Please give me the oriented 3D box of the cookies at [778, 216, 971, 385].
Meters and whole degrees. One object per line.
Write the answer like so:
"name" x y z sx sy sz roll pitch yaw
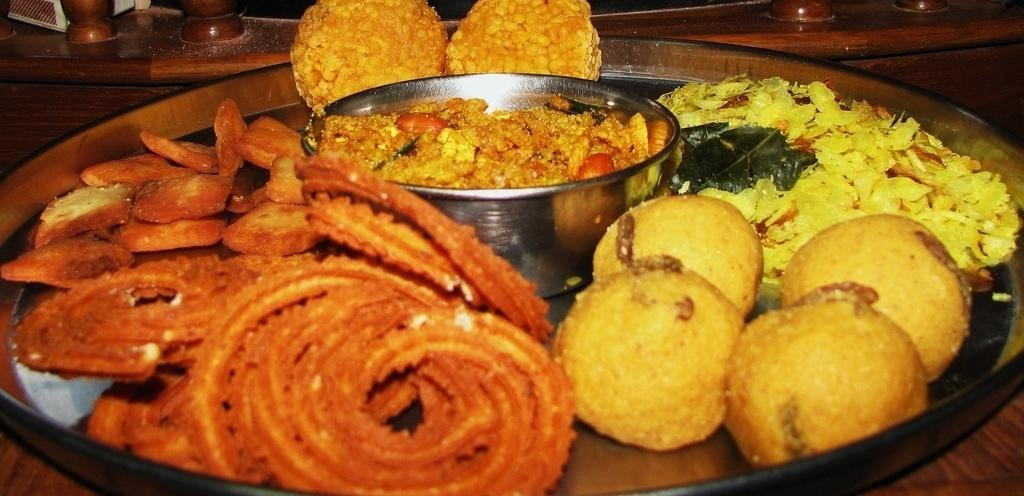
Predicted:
"cookies" 0.718 0.076 1.671 0.436 0.339 0.359 8 20 10

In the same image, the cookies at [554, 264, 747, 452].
"cookies" 0.282 0.188 1.522 0.398 0.194 0.329 11 44 -2

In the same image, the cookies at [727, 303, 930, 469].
"cookies" 0.594 0.260 1.452 0.334 0.268 0.240 -12 39 -20

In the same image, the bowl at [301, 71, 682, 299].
"bowl" -0.024 -0.205 1.856 0.677 0.333 0.731 2 34 -1
